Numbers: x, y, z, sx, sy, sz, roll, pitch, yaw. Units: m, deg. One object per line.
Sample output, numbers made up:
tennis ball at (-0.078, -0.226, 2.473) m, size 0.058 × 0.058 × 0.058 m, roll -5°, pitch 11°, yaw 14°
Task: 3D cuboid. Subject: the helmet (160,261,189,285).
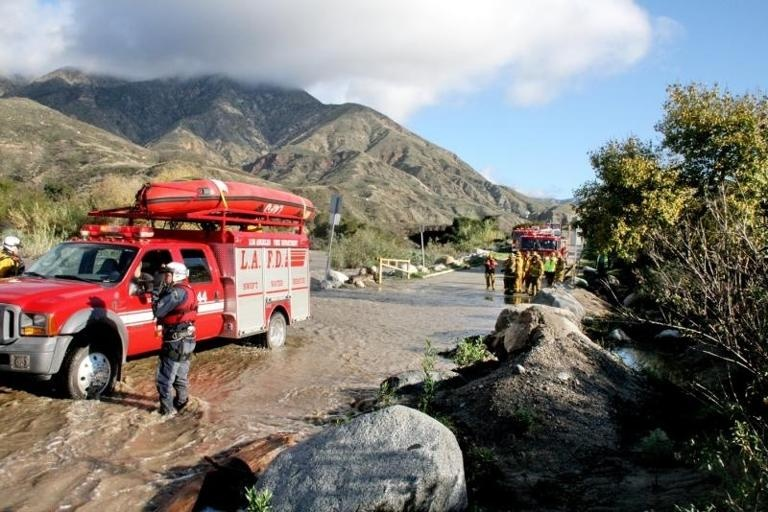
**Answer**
helmet at (-3.700, 0.299, 8.756) m, size 0.419 × 0.338 × 0.329 m, roll -12°, pitch 15°, yaw -23°
